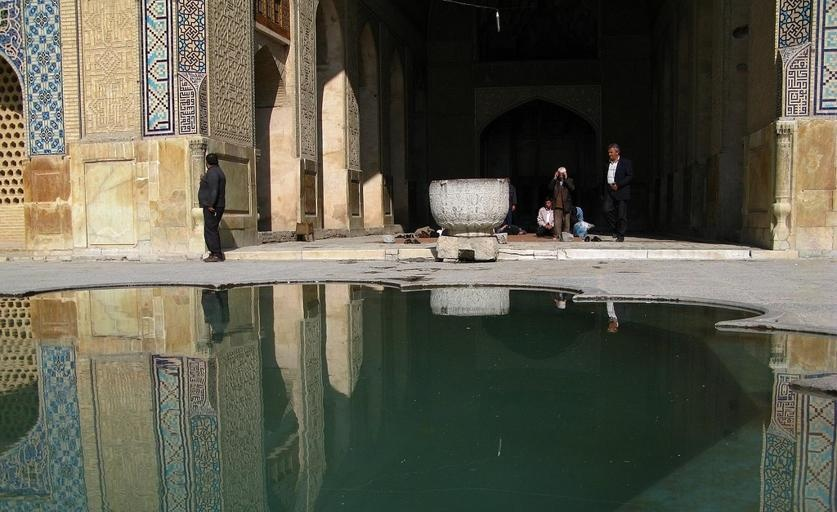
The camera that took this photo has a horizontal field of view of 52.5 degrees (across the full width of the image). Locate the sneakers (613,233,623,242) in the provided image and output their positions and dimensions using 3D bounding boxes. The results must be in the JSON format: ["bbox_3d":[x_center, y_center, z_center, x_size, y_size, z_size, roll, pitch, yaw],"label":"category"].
[{"bbox_3d":[3.265,-0.308,13.850,0.133,0.153,0.378,-1,-2,16],"label":"sneakers"}]

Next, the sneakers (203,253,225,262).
[{"bbox_3d":[-2.871,0.026,11.974,0.295,0.150,0.120,5,-2,0],"label":"sneakers"}]

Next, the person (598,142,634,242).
[{"bbox_3d":[3.223,-1.021,13.859,0.436,1.648,1.064,2,15,13],"label":"person"}]

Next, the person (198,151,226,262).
[{"bbox_3d":[-2.917,-0.687,12.005,0.367,1.488,0.789,-5,15,-14],"label":"person"}]
